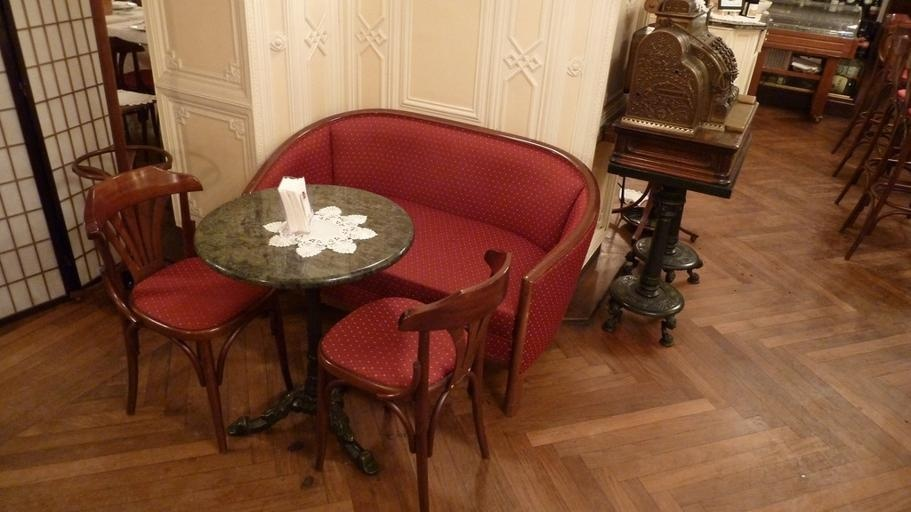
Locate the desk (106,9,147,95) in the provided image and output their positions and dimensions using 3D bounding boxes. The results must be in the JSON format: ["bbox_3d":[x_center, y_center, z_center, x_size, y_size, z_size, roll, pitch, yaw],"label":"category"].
[{"bbox_3d":[-3.416,-2.152,6.344,0.351,0.641,1.312,-11,35,-23],"label":"desk"}]

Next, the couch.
[{"bbox_3d":[-0.211,0.065,4.086,2.207,1.099,1.053,18,55,11],"label":"couch"}]

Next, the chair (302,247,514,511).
[{"bbox_3d":[-0.278,0.706,3.594,1.112,1.461,0.867,11,34,8],"label":"chair"}]
